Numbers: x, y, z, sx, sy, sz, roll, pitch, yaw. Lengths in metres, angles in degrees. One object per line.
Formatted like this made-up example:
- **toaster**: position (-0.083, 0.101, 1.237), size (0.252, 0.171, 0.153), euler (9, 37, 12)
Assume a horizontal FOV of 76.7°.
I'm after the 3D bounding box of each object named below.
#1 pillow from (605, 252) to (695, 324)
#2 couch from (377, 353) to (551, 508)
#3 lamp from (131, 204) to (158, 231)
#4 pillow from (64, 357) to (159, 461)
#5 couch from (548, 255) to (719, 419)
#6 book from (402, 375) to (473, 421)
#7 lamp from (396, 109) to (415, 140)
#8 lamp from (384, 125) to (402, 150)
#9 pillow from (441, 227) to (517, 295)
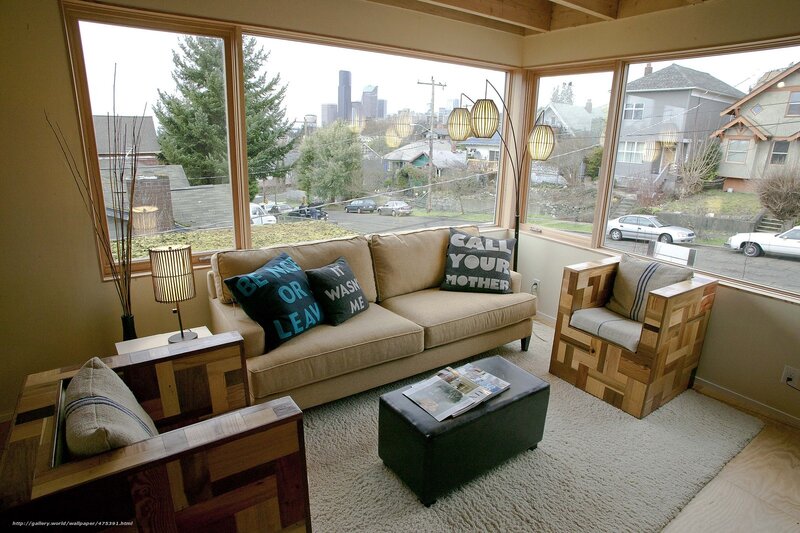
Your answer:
- **pillow**: position (2.066, 0.199, 4.182), size (0.250, 0.415, 0.467), euler (-11, 24, -36)
- **couch**: position (0.449, 1.129, 3.566), size (1.122, 0.637, 0.462), euler (-11, 17, -28)
- **lamp**: position (-2.062, -0.395, 4.097), size (0.191, 0.189, 0.195), euler (6, 6, 34)
- **pillow**: position (-1.536, 0.757, 2.675), size (0.375, 0.407, 0.488), euler (-11, 17, -29)
- **couch**: position (1.880, 0.414, 4.737), size (1.288, 1.614, 1.188), euler (-6, 15, -32)
- **book**: position (0.268, 0.885, 3.408), size (0.240, 0.038, 0.260), euler (-14, 29, -33)
- **lamp**: position (0.061, -1.395, 5.019), size (0.243, 0.270, 0.238), euler (-4, 8, -27)
- **lamp**: position (-0.047, -1.256, 4.964), size (0.184, 0.223, 0.184), euler (0, 15, 2)
- **pillow**: position (0.716, -0.031, 4.733), size (0.593, 0.533, 0.274), euler (6, 10, 7)
